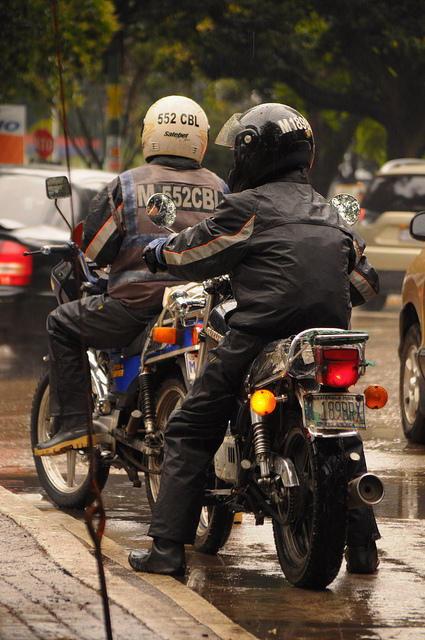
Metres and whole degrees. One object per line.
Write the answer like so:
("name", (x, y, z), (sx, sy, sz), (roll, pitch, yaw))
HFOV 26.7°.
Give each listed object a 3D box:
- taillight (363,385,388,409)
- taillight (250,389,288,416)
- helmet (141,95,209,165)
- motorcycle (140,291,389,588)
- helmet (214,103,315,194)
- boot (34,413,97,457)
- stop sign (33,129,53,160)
("taillight", (0.611, 0.288, 3.310), (0.093, 0.084, 0.032), (-8, 22, -11))
("taillight", (0.200, 0.287, 3.116), (0.095, 0.089, 0.203), (5, -4, 20))
("helmet", (-0.194, -0.997, 4.674), (0.370, 0.340, 0.440), (5, 1, -8))
("motorcycle", (0.231, 0.452, 3.697), (0.826, 1.137, 1.601), (8, -4, -23))
("helmet", (0.213, -0.696, 3.625), (0.447, 0.347, 0.361), (-3, 9, 18))
("boot", (-0.778, 0.593, 4.651), (0.337, 0.210, 0.109), (-16, -27, 19))
("stop sign", (-3.858, -4.067, 20.398), (0.421, 0.474, 1.142), (7, -4, -12))
